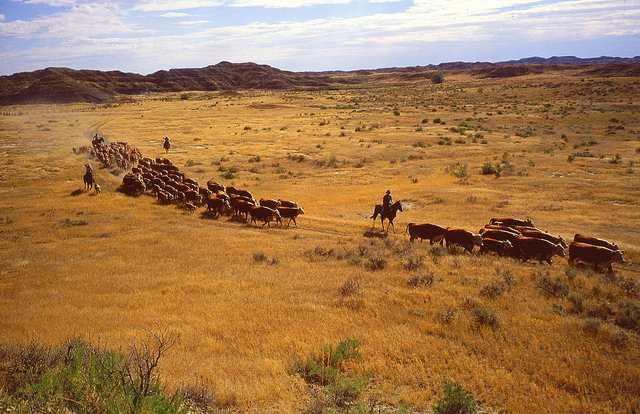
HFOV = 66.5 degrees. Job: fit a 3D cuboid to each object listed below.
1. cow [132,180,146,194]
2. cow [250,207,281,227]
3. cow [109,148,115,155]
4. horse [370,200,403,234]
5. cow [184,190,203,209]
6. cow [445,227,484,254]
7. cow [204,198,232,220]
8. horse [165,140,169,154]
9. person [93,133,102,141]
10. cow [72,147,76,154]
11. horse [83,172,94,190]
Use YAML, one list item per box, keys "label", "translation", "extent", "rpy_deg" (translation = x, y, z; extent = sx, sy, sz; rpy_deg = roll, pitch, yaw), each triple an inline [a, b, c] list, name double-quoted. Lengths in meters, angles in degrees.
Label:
- label: "cow"
  translation: [-16.635, -1.838, 44.848]
  extent: [1.038, 1.270, 0.577]
  rpy_deg: [-9, 18, -25]
- label: "cow"
  translation: [-4.469, 0.708, 39.199]
  extent: [2.278, 1.477, 1.103]
  rpy_deg: [-4, 17, -9]
- label: "cow"
  translation: [-24.091, -6.387, 56.643]
  extent: [0.576, 0.168, 0.638]
  rpy_deg: [-11, 28, -31]
- label: "horse"
  translation: [5.121, 0.629, 38.027]
  extent: [2.222, 2.229, 1.727]
  rpy_deg: [9, 19, 29]
- label: "cow"
  translation: [-10.947, -0.634, 42.228]
  extent: [1.327, 1.494, 0.749]
  rpy_deg: [-6, 17, -18]
- label: "cow"
  translation: [10.057, 2.280, 34.444]
  extent: [2.918, 1.763, 0.924]
  rpy_deg: [12, 27, 39]
- label: "cow"
  translation: [-8.539, -0.048, 40.936]
  extent: [2.077, 1.458, 1.924]
  rpy_deg: [-4, 17, -9]
- label: "horse"
  translation: [-19.452, -7.681, 61.929]
  extent: [0.431, 1.423, 1.360]
  rpy_deg: [-5, 17, -15]
- label: "person"
  translation: [-28.667, -8.847, 62.583]
  extent: [0.817, 0.462, 0.851]
  rpy_deg: [7, 25, -17]
- label: "cow"
  translation: [-30.080, -6.910, 59.913]
  extent: [0.228, 0.555, 0.999]
  rpy_deg: [-6, 45, -41]
- label: "horse"
  translation: [-21.081, -2.417, 44.553]
  extent: [0.757, 1.640, 1.267]
  rpy_deg: [-9, 18, -25]
